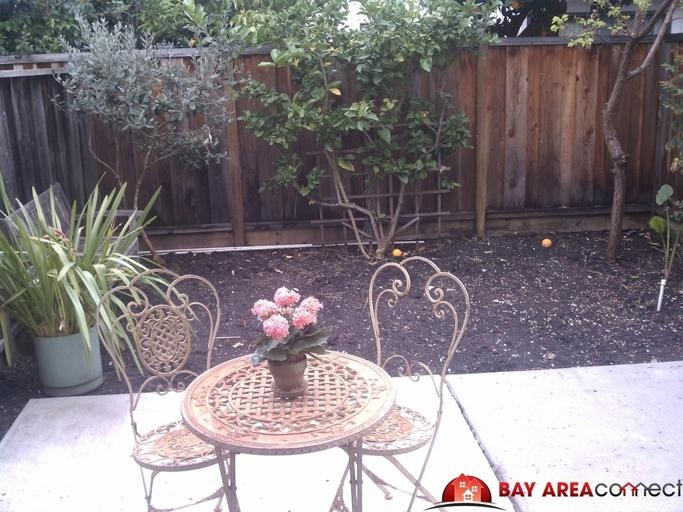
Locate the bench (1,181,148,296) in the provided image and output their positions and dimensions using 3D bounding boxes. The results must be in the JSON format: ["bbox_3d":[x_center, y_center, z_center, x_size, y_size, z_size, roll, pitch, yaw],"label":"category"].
[{"bbox_3d":[-1.860,-0.119,3.922,0.451,0.565,0.854,0,30,-3],"label":"bench"}]

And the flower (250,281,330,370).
[{"bbox_3d":[-0.220,0.318,2.427,0.240,0.261,0.240,-9,5,-31],"label":"flower"}]

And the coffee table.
[{"bbox_3d":[-0.228,0.643,2.385,0.733,0.535,0.794,-3,21,-1],"label":"coffee table"}]

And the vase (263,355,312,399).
[{"bbox_3d":[-0.226,0.516,2.429,0.168,0.169,0.175,-1,23,1],"label":"vase"}]
